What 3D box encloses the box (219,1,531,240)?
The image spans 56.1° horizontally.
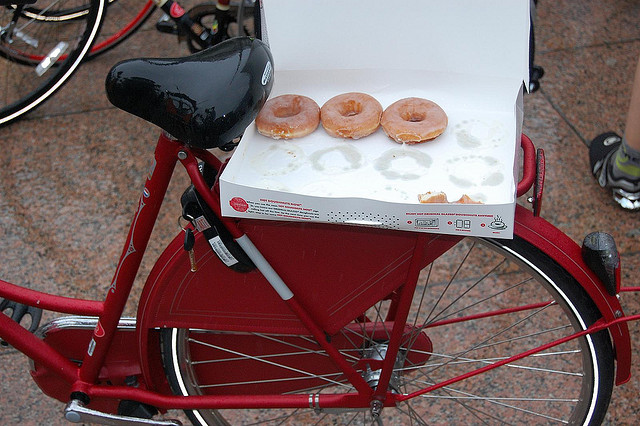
[{"bbox_3d":[0.325,-0.393,2.366,0.980,0.666,1.028,5,44,10],"label":"box"}]

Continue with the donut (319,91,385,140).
[{"bbox_3d":[0.128,-0.402,2.429,0.252,0.095,0.219,-17,66,-6],"label":"donut"}]

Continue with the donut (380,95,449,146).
[{"bbox_3d":[0.372,-0.365,2.365,0.198,0.072,0.214,-6,51,-2],"label":"donut"}]
